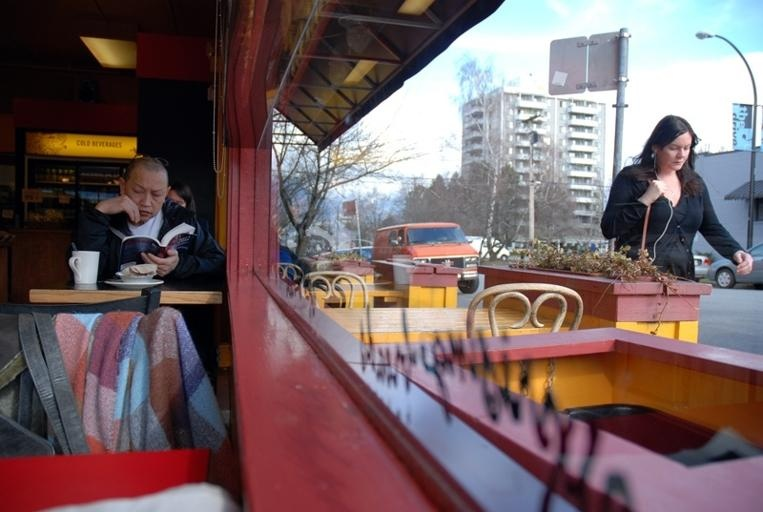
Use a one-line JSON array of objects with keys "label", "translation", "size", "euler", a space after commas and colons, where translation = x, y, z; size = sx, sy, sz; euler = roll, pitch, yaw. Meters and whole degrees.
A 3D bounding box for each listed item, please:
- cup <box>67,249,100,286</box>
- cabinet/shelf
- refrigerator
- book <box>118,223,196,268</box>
[{"label": "cup", "translation": [-1.077, 0.042, 1.942], "size": [0.089, 0.126, 0.138], "euler": [2, 3, 0]}, {"label": "cabinet/shelf", "translation": [-4.019, -0.877, 6.783], "size": [1.506, 1.235, 0.479], "euler": [2, 1, -19]}, {"label": "refrigerator", "translation": [-4.150, -1.142, 7.097], "size": [1.804, 1.510, 0.594], "euler": [0, 1, -12]}, {"label": "book", "translation": [-0.937, -0.047, 2.310], "size": [0.152, 0.178, 0.338], "euler": [1, 3, 33]}]
